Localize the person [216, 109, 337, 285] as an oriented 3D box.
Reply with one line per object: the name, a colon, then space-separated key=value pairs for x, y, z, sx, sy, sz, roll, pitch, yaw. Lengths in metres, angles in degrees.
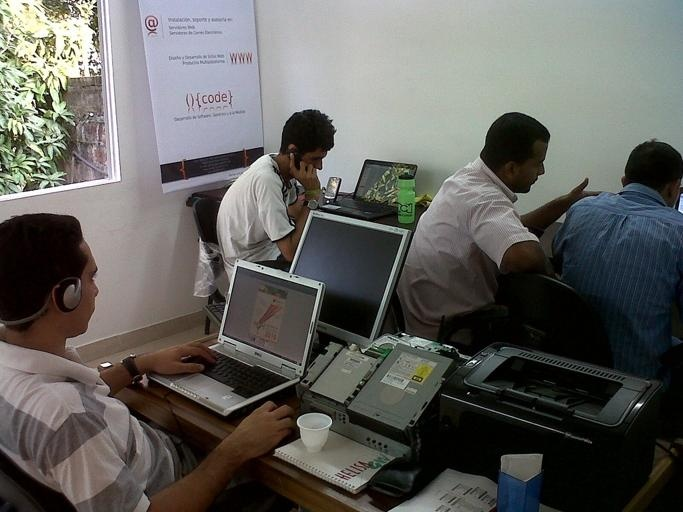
person: x=-0.345 y=-0.127 z=3.087 sx=0.745 sy=1.499 sz=0.679 roll=2 pitch=30 yaw=3

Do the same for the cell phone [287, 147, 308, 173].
cell phone: x=-0.239 y=-0.560 z=2.856 sx=0.096 sy=0.136 sz=0.048 roll=-21 pitch=15 yaw=49

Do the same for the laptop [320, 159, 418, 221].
laptop: x=0.153 y=-0.466 z=3.333 sx=0.501 sy=0.320 sz=0.543 roll=-11 pitch=19 yaw=-35

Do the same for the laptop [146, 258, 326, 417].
laptop: x=-0.346 y=0.244 z=1.608 sx=0.468 sy=0.317 sz=0.452 roll=12 pitch=18 yaw=43

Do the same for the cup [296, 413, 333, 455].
cup: x=-0.070 y=0.474 z=1.311 sx=0.100 sy=0.087 sz=0.104 roll=0 pitch=11 yaw=0

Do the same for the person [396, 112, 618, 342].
person: x=0.774 y=0.138 z=2.368 sx=0.836 sy=1.518 sz=0.660 roll=0 pitch=22 yaw=20

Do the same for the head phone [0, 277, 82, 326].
head phone: x=-0.725 y=0.100 z=1.195 sx=0.149 sy=0.066 sz=0.123 roll=-16 pitch=31 yaw=-26

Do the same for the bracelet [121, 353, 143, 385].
bracelet: x=-0.719 y=0.391 z=1.677 sx=0.047 sy=0.074 sz=0.072 roll=-35 pitch=52 yaw=-13

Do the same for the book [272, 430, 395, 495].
book: x=-0.015 y=0.528 z=1.313 sx=0.281 sy=0.031 sz=0.246 roll=8 pitch=10 yaw=40

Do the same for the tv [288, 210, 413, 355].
tv: x=0.035 y=0.110 z=1.748 sx=0.436 sy=0.437 sz=0.031 roll=21 pitch=4 yaw=39
